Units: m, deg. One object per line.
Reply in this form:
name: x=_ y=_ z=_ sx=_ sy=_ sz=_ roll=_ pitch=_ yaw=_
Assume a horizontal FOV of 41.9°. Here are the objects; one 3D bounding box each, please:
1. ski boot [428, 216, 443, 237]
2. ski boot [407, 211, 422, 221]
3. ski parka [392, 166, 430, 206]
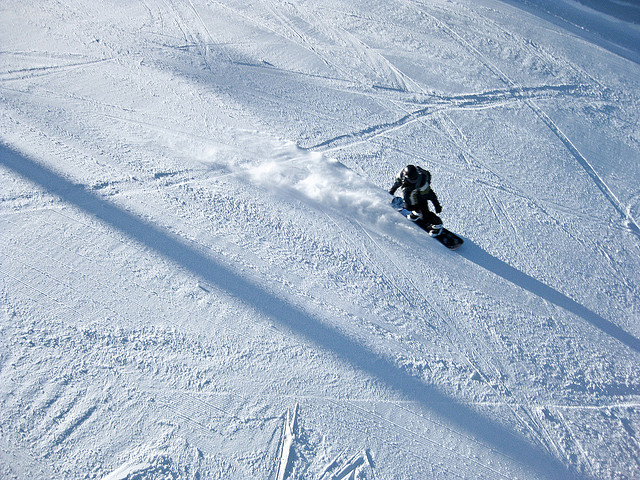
ski boot: x=2.716 y=-0.313 z=19.872 sx=0.324 sy=0.408 sz=0.309 roll=-11 pitch=24 yaw=-18
ski boot: x=2.244 y=-0.573 z=19.926 sx=0.303 sy=0.189 sz=0.135 roll=-1 pitch=3 yaw=36
ski parka: x=2.197 y=-1.252 z=19.687 sx=0.895 sy=0.986 sz=0.530 roll=22 pitch=25 yaw=5
